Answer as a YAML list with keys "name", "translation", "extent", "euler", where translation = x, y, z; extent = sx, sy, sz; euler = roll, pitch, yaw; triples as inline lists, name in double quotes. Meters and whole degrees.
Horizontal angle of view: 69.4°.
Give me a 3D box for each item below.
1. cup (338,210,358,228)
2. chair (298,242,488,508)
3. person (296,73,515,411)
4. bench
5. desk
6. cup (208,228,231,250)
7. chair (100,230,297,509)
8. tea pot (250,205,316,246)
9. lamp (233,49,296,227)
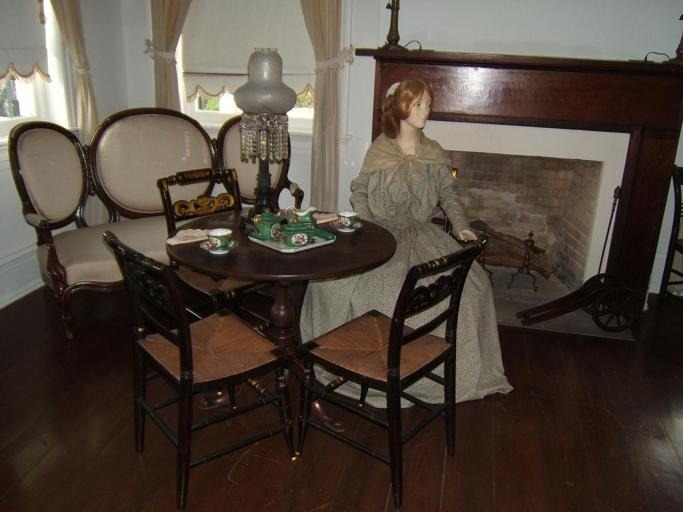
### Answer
- name: "cup"
  translation: [0.033, -0.200, 2.632]
  extent: [0.083, 0.065, 0.071]
  euler: [4, 11, -3]
- name: "chair"
  translation: [0.252, 0.601, 2.354]
  extent: [0.719, 1.199, 0.592]
  euler: [22, 32, 35]
- name: "person"
  translation: [0.394, -0.095, 2.921]
  extent: [1.254, 1.764, 0.955]
  euler: [3, 17, 16]
- name: "bench"
  translation: [-1.208, -0.162, 3.011]
  extent: [1.356, 0.958, 0.519]
  euler: [-20, 37, -38]
- name: "desk"
  translation: [-0.182, -0.005, 2.500]
  extent: [1.033, 0.842, 1.055]
  euler: [25, 35, 33]
- name: "cup"
  translation: [-0.571, -0.078, 2.335]
  extent: [0.096, 0.077, 0.081]
  euler: [1, 12, 5]
- name: "chair"
  translation: [-0.647, 0.569, 2.314]
  extent: [0.704, 1.144, 0.581]
  euler: [-21, 38, -34]
- name: "tea pot"
  translation: [-0.259, -0.142, 2.404]
  extent: [0.253, 0.095, 0.196]
  euler: [-2, 12, -27]
- name: "lamp"
  translation: [-0.376, -0.589, 2.473]
  extent: [0.289, 0.830, 0.271]
  euler: [-3, 23, -10]
